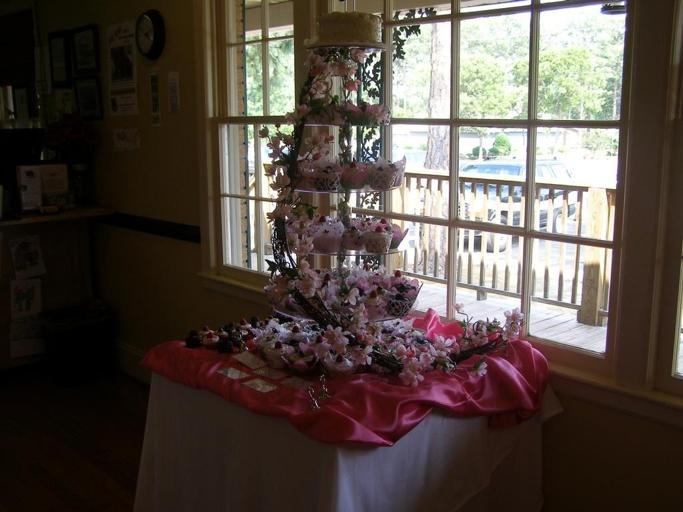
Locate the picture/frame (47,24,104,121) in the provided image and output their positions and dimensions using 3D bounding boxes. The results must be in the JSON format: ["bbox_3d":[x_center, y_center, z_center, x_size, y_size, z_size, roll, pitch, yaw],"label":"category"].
[{"bbox_3d":[-2.075,-1.451,4.122,0.696,0.870,0.083,8,12,39],"label":"picture/frame"}]
